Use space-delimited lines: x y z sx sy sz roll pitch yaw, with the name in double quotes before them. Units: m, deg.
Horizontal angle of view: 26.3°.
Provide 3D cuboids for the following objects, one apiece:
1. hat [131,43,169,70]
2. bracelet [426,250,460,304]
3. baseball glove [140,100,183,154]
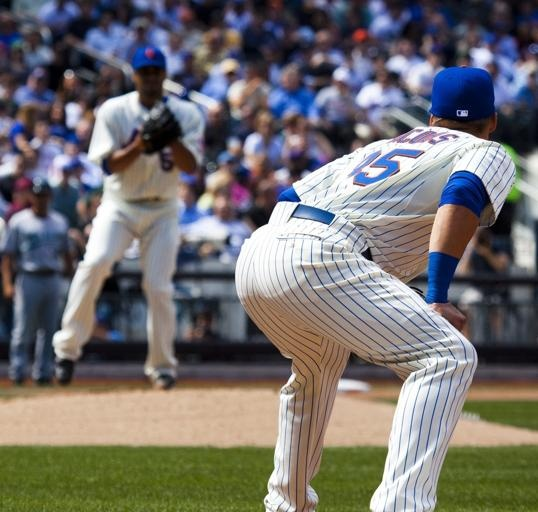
"hat" -0.683 -1.119 6.536 0.197 0.138 0.192 3 8 -8
"bracelet" 0.664 0.077 4.401 0.114 0.206 0.168 5 8 8
"baseball glove" -0.594 -0.699 6.458 0.190 0.266 0.208 45 -30 -13
